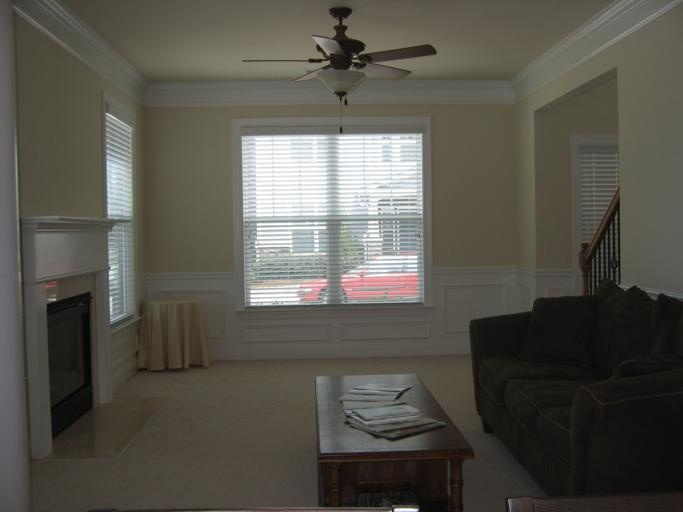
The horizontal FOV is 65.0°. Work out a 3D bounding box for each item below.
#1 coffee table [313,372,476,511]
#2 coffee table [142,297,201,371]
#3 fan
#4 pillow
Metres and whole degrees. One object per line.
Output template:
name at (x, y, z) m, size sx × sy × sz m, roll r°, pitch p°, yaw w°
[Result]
coffee table at (0.256, 1.142, 3.350) m, size 0.816 × 0.471 × 1.037 m, roll -1°, pitch 7°, yaw -4°
coffee table at (-1.842, 0.806, 5.999) m, size 0.767 × 0.746 × 0.694 m, roll -1°, pitch -1°, yaw -8°
fan at (0.142, -1.554, 4.273) m, size 0.961 × 0.329 × 0.905 m, roll 0°, pitch -7°, yaw -8°
pillow at (1.844, 0.510, 3.869) m, size 0.194 × 0.666 × 0.647 m, roll 34°, pitch -27°, yaw -31°
